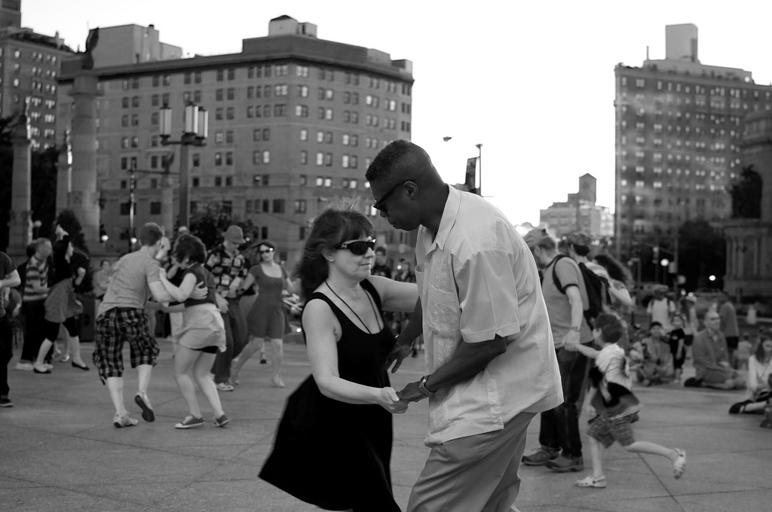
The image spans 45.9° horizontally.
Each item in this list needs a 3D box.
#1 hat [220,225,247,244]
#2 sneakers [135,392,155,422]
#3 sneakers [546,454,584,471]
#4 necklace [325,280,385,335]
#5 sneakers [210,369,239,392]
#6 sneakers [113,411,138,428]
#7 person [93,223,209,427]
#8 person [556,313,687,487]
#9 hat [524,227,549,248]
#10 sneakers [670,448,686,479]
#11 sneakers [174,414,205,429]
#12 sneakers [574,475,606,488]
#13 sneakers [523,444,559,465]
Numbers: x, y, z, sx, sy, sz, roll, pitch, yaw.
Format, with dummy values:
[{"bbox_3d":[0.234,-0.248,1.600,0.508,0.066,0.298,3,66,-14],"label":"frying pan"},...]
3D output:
[{"bbox_3d":[-2.780,-0.395,16.691,0.524,0.328,0.346,-2,3,40],"label":"hat"},{"bbox_3d":[-3.647,2.300,13.786,0.176,0.430,0.186,-21,11,12],"label":"sneakers"},{"bbox_3d":[2.368,2.724,12.026,0.486,0.246,0.195,4,-2,-1],"label":"sneakers"},{"bbox_3d":[-0.299,0.442,8.985,0.156,0.672,0.354,-28,2,42],"label":"necklace"},{"bbox_3d":[-2.985,2.326,16.691,0.220,0.256,0.626,2,-4,-45],"label":"sneakers"},{"bbox_3d":[-3.818,2.399,13.427,0.160,0.178,0.423,4,4,33],"label":"sneakers"},{"bbox_3d":[-3.737,1.019,13.308,0.929,2.955,0.655,0,3,-19],"label":"person"},{"bbox_3d":[2.911,1.829,11.793,1.122,2.093,1.377,0,3,-19],"label":"person"},{"bbox_3d":[2.096,-0.275,12.792,0.103,0.346,0.348,24,-12,-34],"label":"hat"},{"bbox_3d":[3.673,2.598,11.389,0.176,0.467,0.193,5,-21,3],"label":"sneakers"},{"bbox_3d":[-2.888,2.441,13.439,0.396,0.161,0.182,2,-3,3],"label":"sneakers"},{"bbox_3d":[2.574,2.832,11.454,0.286,0.110,0.155,2,-8,8],"label":"sneakers"},{"bbox_3d":[2.088,2.679,12.251,0.527,0.240,0.217,-1,-2,2],"label":"sneakers"}]
